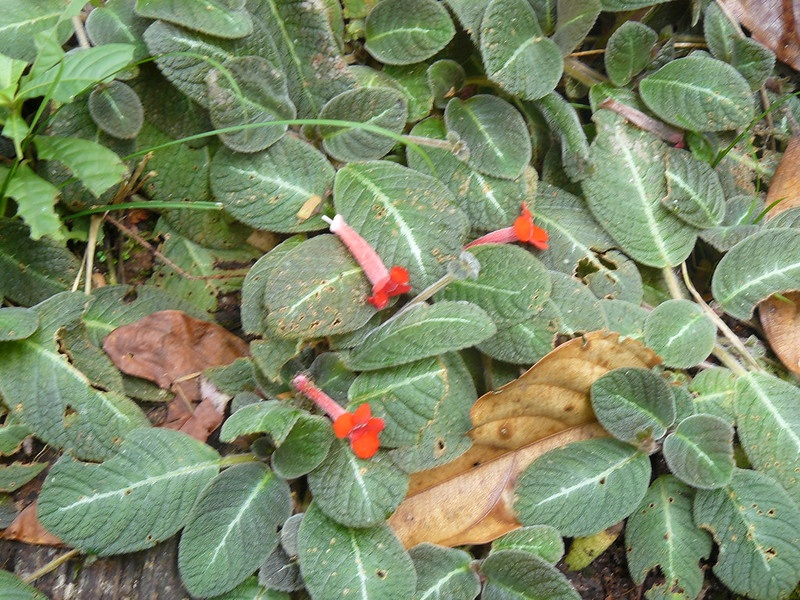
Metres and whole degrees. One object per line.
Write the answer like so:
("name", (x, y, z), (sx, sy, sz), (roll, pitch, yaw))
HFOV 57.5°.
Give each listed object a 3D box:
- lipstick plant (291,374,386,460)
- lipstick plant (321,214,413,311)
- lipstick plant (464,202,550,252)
("lipstick plant", (-0.204, 0.416, 2.832), (0.200, 0.183, 0.465), (-43, 60, -15))
("lipstick plant", (-0.105, -0.128, 2.883), (0.223, 0.200, 0.469), (-37, 85, -2))
("lipstick plant", (0.441, -0.257, 2.969), (0.307, 0.150, 0.176), (-19, 43, 4))
